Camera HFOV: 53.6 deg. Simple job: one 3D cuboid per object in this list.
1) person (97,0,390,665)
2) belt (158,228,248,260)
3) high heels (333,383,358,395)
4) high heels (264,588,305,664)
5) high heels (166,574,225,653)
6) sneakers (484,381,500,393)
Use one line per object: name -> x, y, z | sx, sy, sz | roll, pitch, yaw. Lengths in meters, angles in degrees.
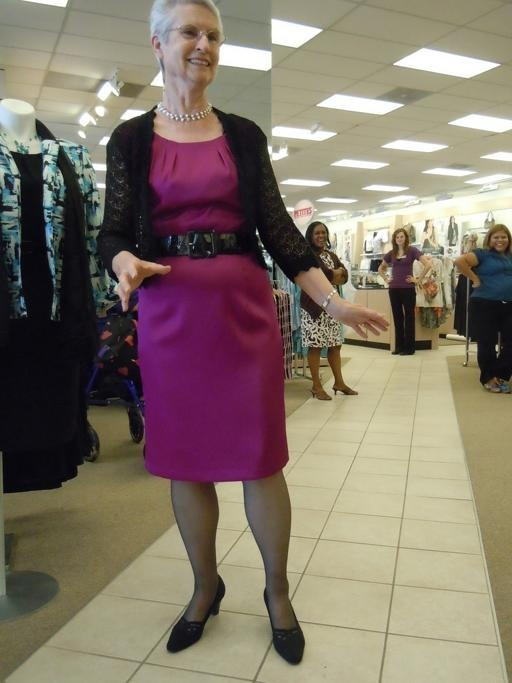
person -> -0.066, 0.005, 1.128 | 0.517, 1.422, 0.378 | -2, 0, -22
belt -> -0.107, -0.200, 1.072 | 0.197, 0.057, 0.049 | -2, 0, -7
high heels -> 0.883, 0.480, 5.117 | 0.297, 0.146, 0.098 | -1, 4, 12
high heels -> 0.063, 0.669, 1.214 | 0.059, 0.046, 0.162 | -2, 33, -18
high heels -> -0.156, 0.678, 1.278 | 0.063, 0.078, 0.188 | 5, 12, 30
sneakers -> 2.325, 0.458, 5.001 | 0.058, 0.070, 0.165 | -2, -8, 1
